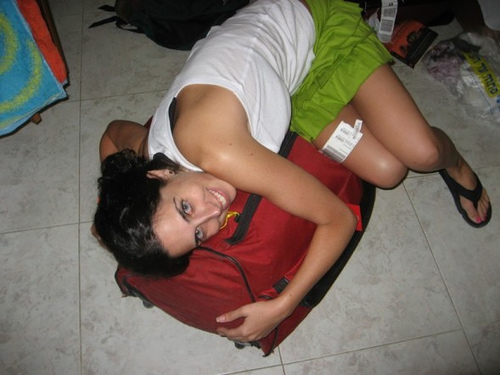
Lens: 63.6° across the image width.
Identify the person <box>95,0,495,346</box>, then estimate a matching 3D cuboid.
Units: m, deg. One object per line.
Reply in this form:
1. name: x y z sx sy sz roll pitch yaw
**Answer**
1. person: 0.087 -0.139 1.583 1.411 0.745 1.045 -26 62 -14
